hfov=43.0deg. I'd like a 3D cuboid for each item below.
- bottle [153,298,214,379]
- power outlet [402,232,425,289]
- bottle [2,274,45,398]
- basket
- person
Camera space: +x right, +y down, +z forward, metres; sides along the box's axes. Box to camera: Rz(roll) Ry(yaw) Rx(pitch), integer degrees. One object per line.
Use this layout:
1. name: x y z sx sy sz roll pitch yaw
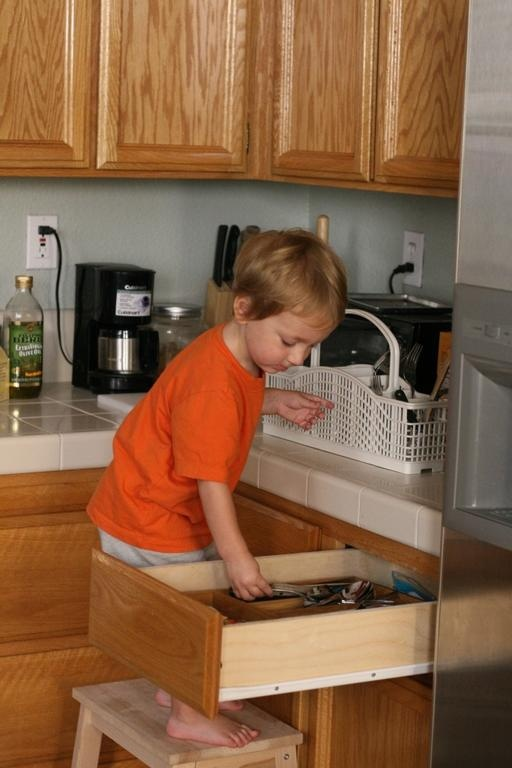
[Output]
1. bottle: -0.231 -0.112 1.990 0.231 0.219 0.173 5 -7 -4
2. power outlet: 0.420 -0.331 1.736 0.014 0.147 0.092 -1 7 -20
3. bottle: -0.621 -0.105 1.734 0.091 0.290 0.071 -1 7 -19
4. basket: 0.181 0.002 1.253 0.133 0.276 0.398 3 3 -42
5. person: -0.021 0.160 1.033 0.395 0.775 0.346 -13 25 -42
